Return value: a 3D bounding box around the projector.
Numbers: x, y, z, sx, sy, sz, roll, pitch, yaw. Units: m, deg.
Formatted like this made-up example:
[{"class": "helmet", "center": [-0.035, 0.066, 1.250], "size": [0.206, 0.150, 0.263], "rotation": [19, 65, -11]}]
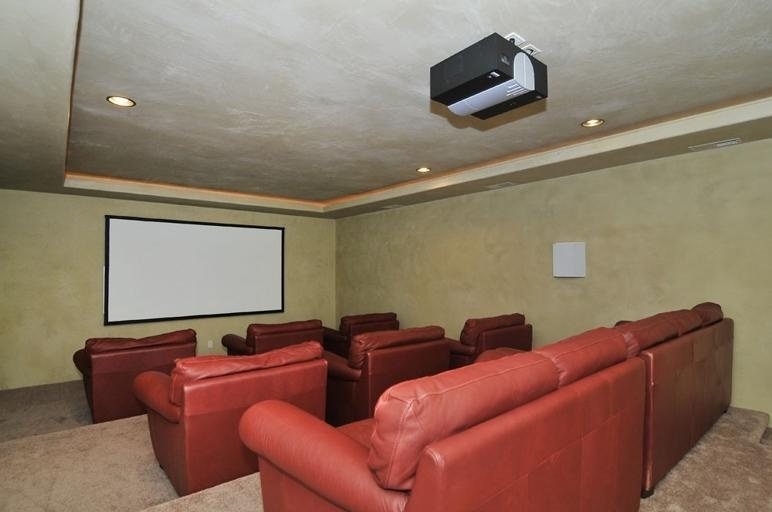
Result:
[{"class": "projector", "center": [0.935, -1.361, 4.276], "size": [0.682, 0.271, 0.729], "rotation": [5, -9, -38]}]
